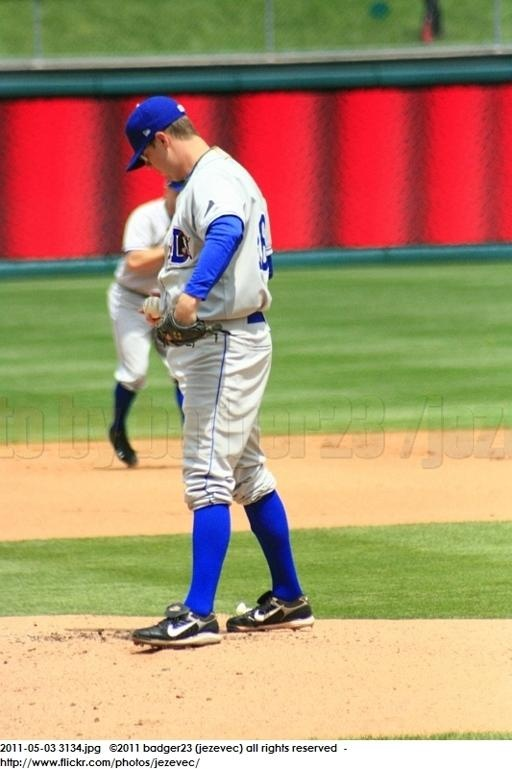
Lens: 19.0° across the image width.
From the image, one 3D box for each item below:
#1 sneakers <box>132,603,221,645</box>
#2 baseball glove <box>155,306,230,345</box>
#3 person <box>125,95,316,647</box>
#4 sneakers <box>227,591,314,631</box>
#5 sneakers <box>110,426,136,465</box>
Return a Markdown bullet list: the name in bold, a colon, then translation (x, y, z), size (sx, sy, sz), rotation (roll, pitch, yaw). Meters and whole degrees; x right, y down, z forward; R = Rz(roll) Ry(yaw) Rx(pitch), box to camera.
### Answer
- **sneakers**: translation (-0.249, 0.761, 4.912), size (0.301, 0.152, 0.110), rotation (3, -9, -19)
- **baseball glove**: translation (-0.220, -0.197, 4.804), size (0.187, 0.089, 0.096), rotation (-6, 12, -4)
- **person**: translation (-0.108, -0.044, 4.954), size (0.704, 1.745, 0.542), rotation (2, 10, -5)
- **sneakers**: translation (0.049, 0.755, 5.130), size (0.261, 0.123, 0.127), rotation (0, -6, -7)
- **sneakers**: translation (-0.668, 0.296, 7.478), size (0.057, 0.173, 0.116), rotation (-36, 18, -33)
